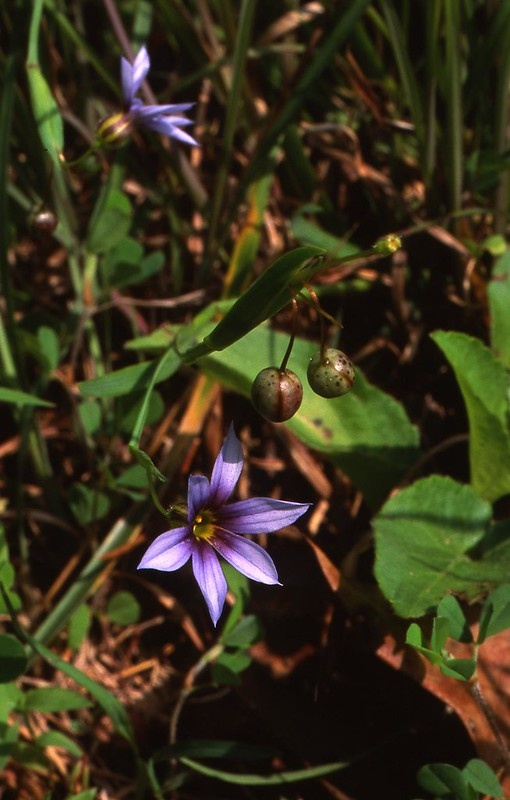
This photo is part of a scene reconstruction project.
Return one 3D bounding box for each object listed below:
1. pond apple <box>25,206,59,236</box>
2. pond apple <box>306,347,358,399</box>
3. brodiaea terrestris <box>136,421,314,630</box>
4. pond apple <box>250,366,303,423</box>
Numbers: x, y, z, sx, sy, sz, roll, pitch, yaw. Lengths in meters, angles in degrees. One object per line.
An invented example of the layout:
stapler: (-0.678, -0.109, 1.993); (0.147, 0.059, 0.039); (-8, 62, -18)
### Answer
pond apple: (-0.365, -0.306, 1.186); (0.041, 0.052, 0.032); (5, 66, 55)
pond apple: (0.099, -0.033, 0.884); (0.052, 0.072, 0.052); (-37, 14, -7)
brodiaea terrestris: (-0.065, 0.151, 0.830); (0.220, 0.146, 0.091); (36, 20, 6)
pond apple: (0.028, -0.008, 0.823); (0.063, 0.073, 0.064); (11, 17, 20)
